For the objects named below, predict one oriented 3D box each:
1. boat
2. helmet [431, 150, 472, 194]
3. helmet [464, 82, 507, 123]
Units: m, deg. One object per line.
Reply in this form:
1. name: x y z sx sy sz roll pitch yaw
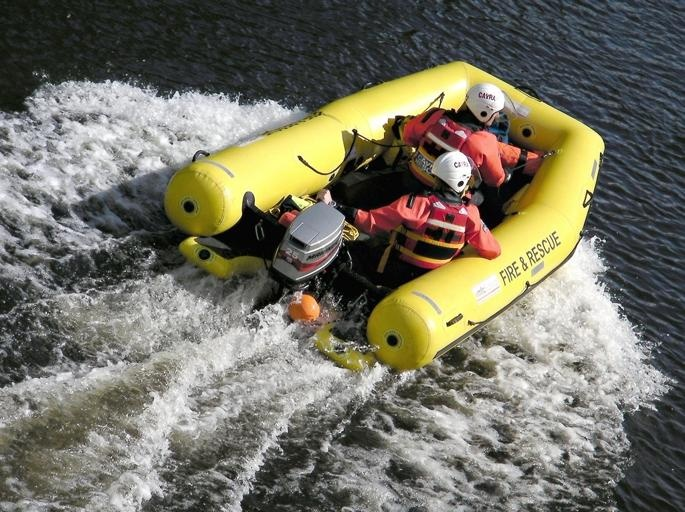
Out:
1. boat: 0.734 -0.589 10.366 3.374 0.948 4.001 38 50 23
2. helmet: 1.005 -0.803 9.444 0.434 0.348 0.312 -8 38 -32
3. helmet: 1.465 -1.566 10.428 0.443 0.358 0.320 19 36 10
